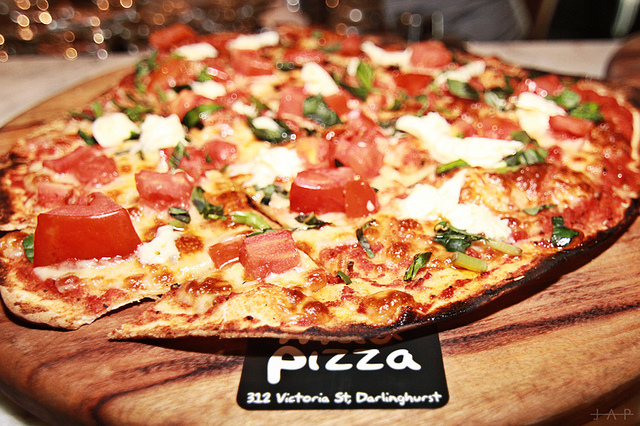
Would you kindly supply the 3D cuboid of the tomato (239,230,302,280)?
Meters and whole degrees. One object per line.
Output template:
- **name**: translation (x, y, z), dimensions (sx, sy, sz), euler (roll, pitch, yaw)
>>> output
- **tomato**: translation (-0.252, 0.174, 2.373), dimensions (0.332, 0.106, 0.306), euler (-7, 33, -26)

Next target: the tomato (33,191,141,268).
- **tomato**: translation (-1.077, 0.090, 2.320), dimensions (0.388, 0.116, 0.350), euler (12, 25, 17)

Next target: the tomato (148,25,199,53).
- **tomato**: translation (-1.119, -1.350, 3.900), dimensions (0.338, 0.124, 0.312), euler (-20, 36, -27)

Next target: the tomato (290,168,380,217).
- **tomato**: translation (0.072, -0.102, 2.622), dimensions (0.457, 0.171, 0.243), euler (-2, 42, 5)

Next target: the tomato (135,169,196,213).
- **tomato**: translation (-0.811, -0.117, 2.638), dimensions (0.283, 0.175, 0.204), euler (-14, 43, -8)
